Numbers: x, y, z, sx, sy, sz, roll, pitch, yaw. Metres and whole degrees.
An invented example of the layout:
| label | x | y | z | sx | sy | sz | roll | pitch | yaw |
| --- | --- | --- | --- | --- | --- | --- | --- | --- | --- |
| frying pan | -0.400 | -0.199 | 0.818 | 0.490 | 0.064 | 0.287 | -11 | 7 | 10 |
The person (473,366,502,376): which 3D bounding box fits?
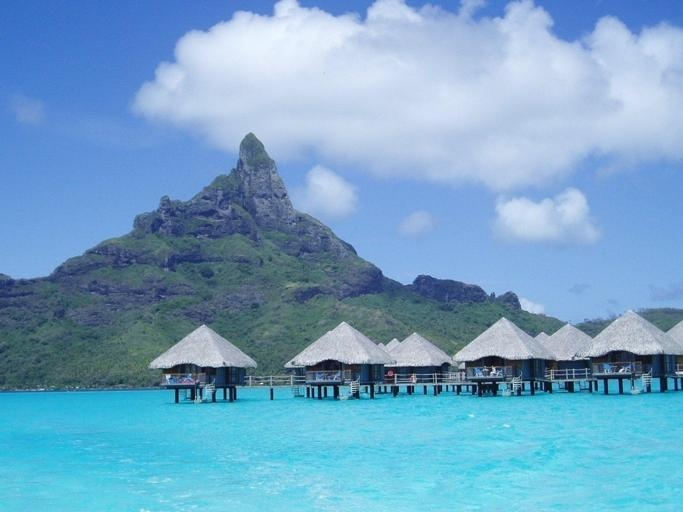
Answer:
| label | x | y | z | sx | sy | sz | roll | pitch | yaw |
| --- | --- | --- | --- | --- | --- | --- | --- | --- | --- |
| person | 12.131 | 9.383 | 79.793 | 2.379 | 0.808 | 0.714 | -2 | 0 | 15 |
